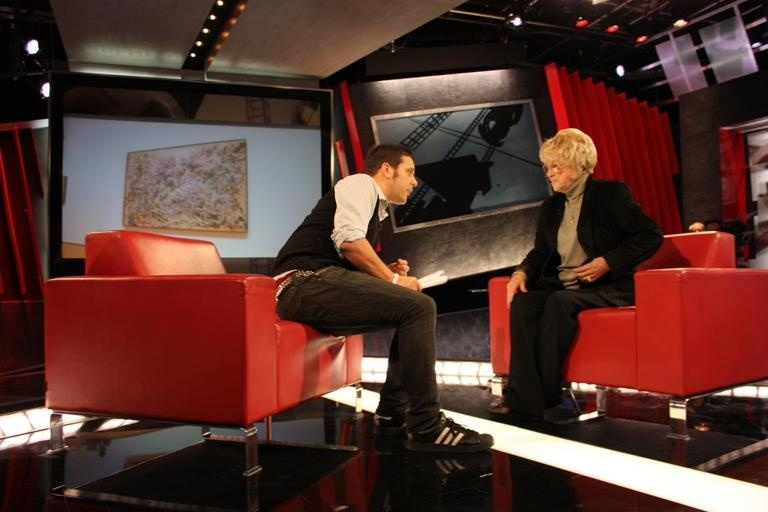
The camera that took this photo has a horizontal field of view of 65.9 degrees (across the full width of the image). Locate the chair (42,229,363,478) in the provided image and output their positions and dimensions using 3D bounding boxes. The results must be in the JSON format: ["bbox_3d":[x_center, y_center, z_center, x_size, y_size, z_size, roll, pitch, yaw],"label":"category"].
[{"bbox_3d":[-0.922,0.446,3.572,1.305,1.121,1.704,-2,-4,23],"label":"chair"}]

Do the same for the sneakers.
[{"bbox_3d":[0.214,0.938,3.135,0.673,0.267,0.223,-1,-3,-2],"label":"sneakers"}]
